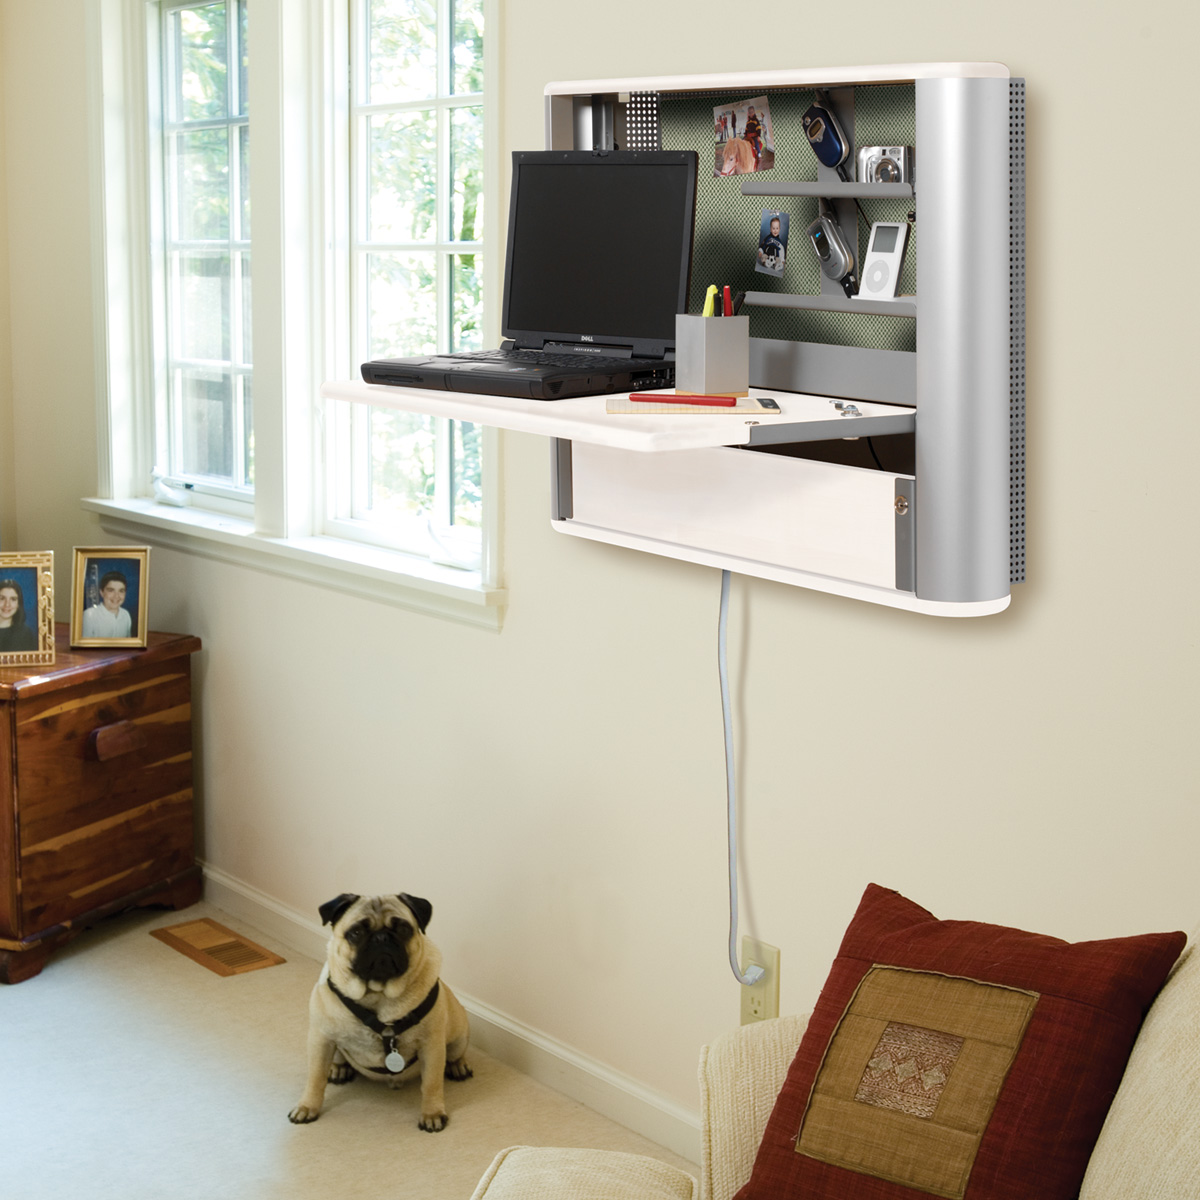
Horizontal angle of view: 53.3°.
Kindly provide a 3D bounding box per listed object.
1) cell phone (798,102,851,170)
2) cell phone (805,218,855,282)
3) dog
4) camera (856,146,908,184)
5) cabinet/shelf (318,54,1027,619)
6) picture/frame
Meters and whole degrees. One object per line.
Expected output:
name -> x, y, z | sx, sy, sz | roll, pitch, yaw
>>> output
cell phone -> 0.270, -0.557, 1.438 | 0.020, 0.085, 0.046 | -12, -10, -32
cell phone -> 0.287, -0.422, 1.474 | 0.022, 0.071, 0.075 | -20, 45, -11
dog -> -0.392, 0.705, 2.106 | 0.323, 0.421, 0.278 | -2, 10, -7
camera -> 0.320, -0.491, 1.351 | 0.032, 0.040, 0.057 | -8, 16, -26
cabinet/shelf -> 0.077, -0.325, 1.521 | 0.544, 0.613, 0.778 | -13, 21, -30
picture/frame -> -1.189, 0.022, 2.739 | 0.314, 0.226, 0.013 | 0, -6, -34
